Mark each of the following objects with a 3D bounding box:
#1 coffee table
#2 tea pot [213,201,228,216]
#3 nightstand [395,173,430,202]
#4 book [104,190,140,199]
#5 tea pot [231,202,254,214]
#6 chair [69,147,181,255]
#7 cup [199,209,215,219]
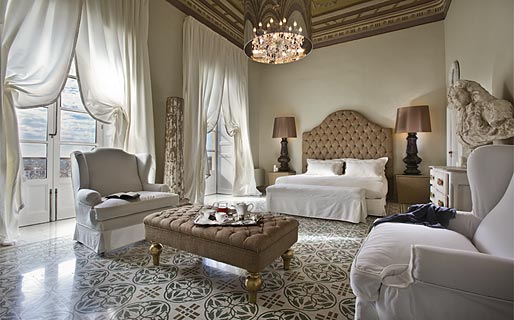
[{"bbox_3d":[-0.436,1.068,3.790,1.641,0.865,0.656,0,3,23],"label":"coffee table"},{"bbox_3d":[-0.467,0.601,3.975,0.182,0.171,0.116,-2,-2,11],"label":"tea pot"},{"bbox_3d":[3.079,0.553,6.218,0.555,0.520,0.556,-1,-5,16],"label":"nightstand"},{"bbox_3d":[-1.862,0.496,4.279,0.420,0.082,0.262,0,2,24],"label":"book"},{"bbox_3d":[-0.182,0.594,3.899,0.257,0.161,0.154,0,-1,5],"label":"tea pot"},{"bbox_3d":[-1.901,0.454,4.502,1.294,1.270,1.138,-2,6,-41],"label":"chair"},{"bbox_3d":[-0.609,0.667,3.830,0.137,0.091,0.139,1,2,0],"label":"cup"}]
